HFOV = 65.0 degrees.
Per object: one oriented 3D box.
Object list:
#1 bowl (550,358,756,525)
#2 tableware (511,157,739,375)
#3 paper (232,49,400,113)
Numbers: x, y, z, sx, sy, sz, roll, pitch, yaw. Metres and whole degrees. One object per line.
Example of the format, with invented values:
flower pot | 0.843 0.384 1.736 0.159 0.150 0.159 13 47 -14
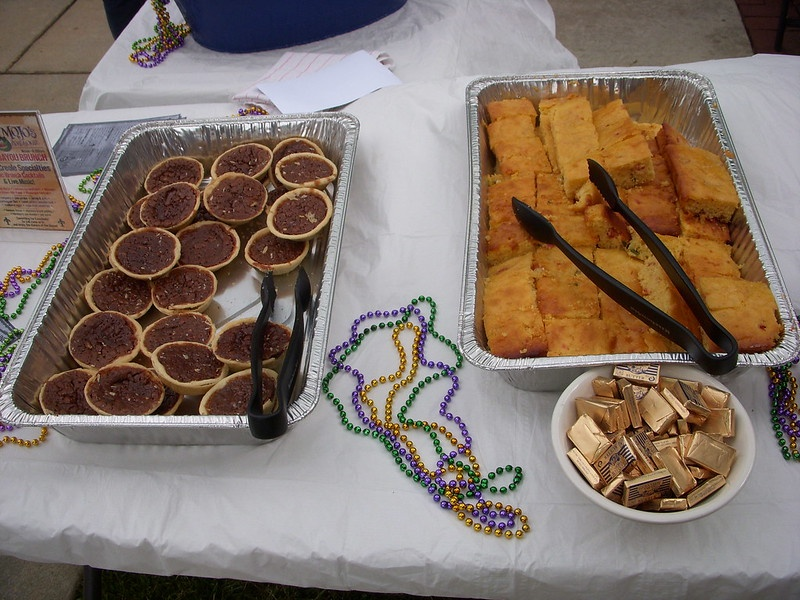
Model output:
bowl | 0.605 0.337 1.533 0.465 0.081 0.387 -2 68 4
tableware | 0.611 -0.095 1.778 0.322 0.131 0.776 -30 56 -8
paper | -0.358 -0.945 2.701 0.536 0.086 0.418 -26 41 -14
